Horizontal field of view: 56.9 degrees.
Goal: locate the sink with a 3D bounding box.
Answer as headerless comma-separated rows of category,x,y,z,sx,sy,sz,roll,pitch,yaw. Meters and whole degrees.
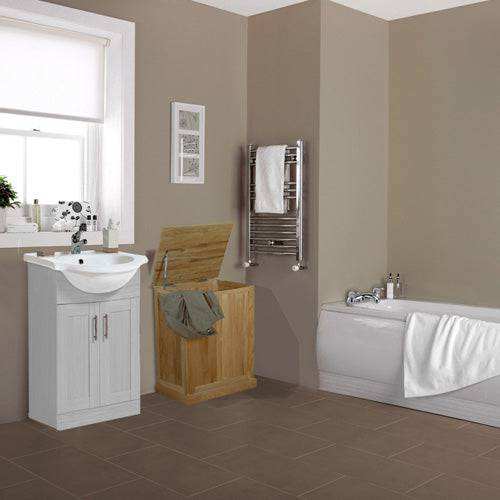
sink,-0.839,0.128,2.569,0.467,0.232,0.503,1,-2,-32

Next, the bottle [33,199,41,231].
bottle,-1.339,-0.224,2.915,0.044,0.212,0.076,1,-2,-26

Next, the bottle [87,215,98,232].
bottle,-1.046,-0.180,3.089,0.073,0.171,0.166,-1,3,-17

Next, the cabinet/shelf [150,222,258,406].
cabinet/shelf,-0.314,0.397,3.298,0.676,1.241,0.490,-3,5,-38

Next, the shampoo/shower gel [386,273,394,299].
shampoo/shower gel,1.131,0.293,3.771,0.066,0.197,0.216,0,-2,17

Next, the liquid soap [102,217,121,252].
liquid soap,-0.889,-0.100,2.912,0.083,0.192,0.073,12,10,-35

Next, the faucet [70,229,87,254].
faucet,-1.000,-0.048,2.718,0.077,0.141,0.071,1,-2,-15

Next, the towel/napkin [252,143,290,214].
towel/napkin,0.151,-0.520,3.433,0.271,0.493,0.064,-1,-2,39

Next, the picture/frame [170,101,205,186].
picture/frame,-0.455,-0.777,3.399,0.070,0.601,0.310,-2,-2,44
